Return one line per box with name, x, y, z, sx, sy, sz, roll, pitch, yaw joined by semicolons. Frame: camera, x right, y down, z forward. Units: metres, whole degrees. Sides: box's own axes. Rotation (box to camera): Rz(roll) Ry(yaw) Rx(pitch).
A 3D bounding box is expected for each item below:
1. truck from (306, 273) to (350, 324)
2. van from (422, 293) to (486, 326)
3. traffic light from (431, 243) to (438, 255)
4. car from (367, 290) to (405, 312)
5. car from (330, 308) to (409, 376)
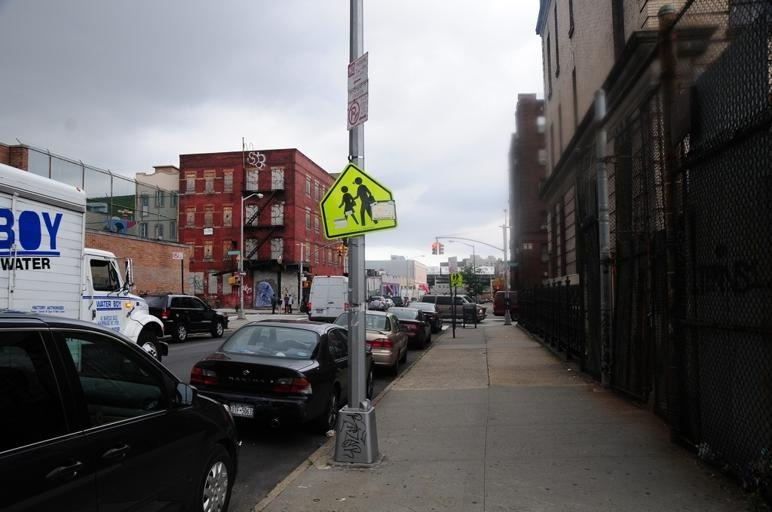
truck;-2.605;1.828;30.333;1.618;1.998;3.362;1;-2;13
van;4.052;3.154;39.882;3.188;1.644;1.831;-2;-2;2
traffic light;4.373;-0.719;59.115;0.273;0.844;0.425;-1;2;8
car;-0.304;3.565;51.394;1.290;1.067;2.994;1;2;18
car;-0.070;2.094;16.849;0.992;0.895;2.616;0;2;11
